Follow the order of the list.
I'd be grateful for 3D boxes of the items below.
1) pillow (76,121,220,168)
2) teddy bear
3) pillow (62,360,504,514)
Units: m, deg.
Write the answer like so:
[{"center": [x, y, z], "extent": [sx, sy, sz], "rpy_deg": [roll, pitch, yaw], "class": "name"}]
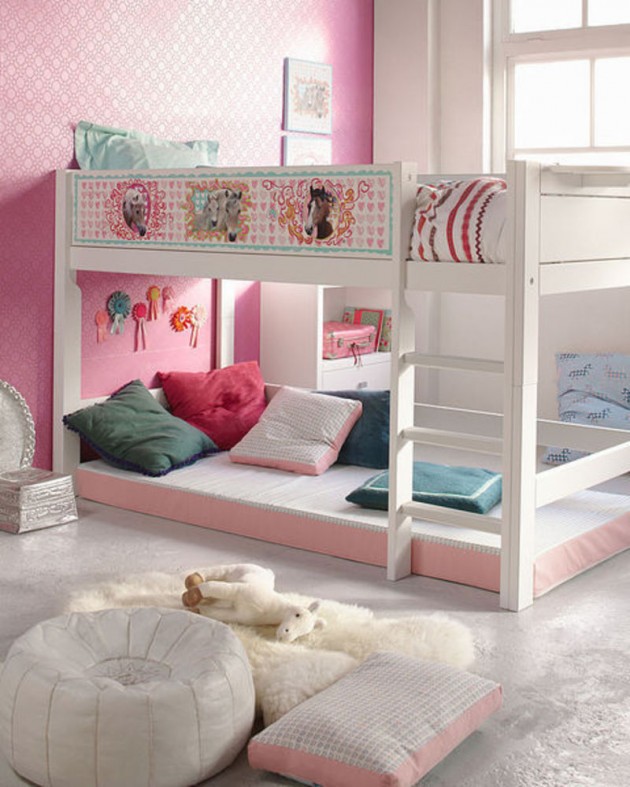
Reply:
[{"center": [-0.857, -1.207, 3.723], "extent": [0.476, 0.147, 0.404], "rpy_deg": [-7, 33, -35], "class": "pillow"}, {"center": [-0.200, 0.619, 2.299], "extent": [0.299, 0.105, 0.191], "rpy_deg": [18, 15, 18], "class": "teddy bear"}, {"center": [-0.074, 0.240, 3.412], "extent": [1.474, 0.380, 0.767], "rpy_deg": [6, 10, 30], "class": "pillow"}]
